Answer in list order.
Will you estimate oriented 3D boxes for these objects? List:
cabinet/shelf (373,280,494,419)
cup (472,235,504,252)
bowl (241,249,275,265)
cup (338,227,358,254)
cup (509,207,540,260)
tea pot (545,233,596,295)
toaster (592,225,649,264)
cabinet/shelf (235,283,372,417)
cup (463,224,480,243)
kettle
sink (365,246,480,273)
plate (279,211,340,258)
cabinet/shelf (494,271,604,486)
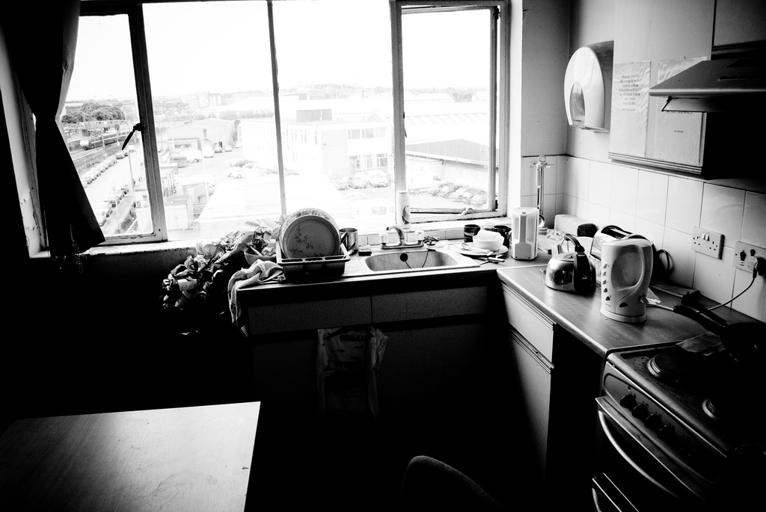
[{"bbox_3d":[0.315,0.596,3.371,0.867,0.797,0.203,-1,13,-9],"label":"cabinet/shelf"},{"bbox_3d":[0.732,-0.095,3.596,0.129,0.060,0.121,0,13,0],"label":"cup"},{"bbox_3d":[-0.820,0.000,3.471,0.183,0.109,0.142,9,21,34],"label":"bowl"},{"bbox_3d":[-0.231,-0.107,3.682,0.109,0.156,0.179,10,22,26],"label":"cup"},{"bbox_3d":[0.949,-0.155,3.488,0.186,0.336,0.165,0,17,11],"label":"cup"},{"bbox_3d":[1.117,0.039,3.121,0.276,0.309,0.441,4,9,-3],"label":"tea pot"},{"bbox_3d":[1.394,-0.032,3.098,0.290,0.209,0.321,12,18,9],"label":"toaster"},{"bbox_3d":[-0.673,0.513,3.636,0.424,0.769,0.798,-4,16,-7],"label":"cabinet/shelf"},{"bbox_3d":[0.621,-0.157,3.752,0.128,0.109,0.100,-3,12,-17],"label":"cup"},{"bbox_3d":[1.255,0.122,2.683,0.249,0.417,0.255,0,0,-35],"label":"kettle"},{"bbox_3d":[0.253,0.036,3.646,0.737,0.136,0.257,1,18,12],"label":"sink"},{"bbox_3d":[-0.473,-0.143,3.366,0.369,0.283,0.211,-11,18,-24],"label":"plate"},{"bbox_3d":[0.916,0.734,2.958,0.570,0.990,0.383,9,20,35],"label":"cabinet/shelf"}]
